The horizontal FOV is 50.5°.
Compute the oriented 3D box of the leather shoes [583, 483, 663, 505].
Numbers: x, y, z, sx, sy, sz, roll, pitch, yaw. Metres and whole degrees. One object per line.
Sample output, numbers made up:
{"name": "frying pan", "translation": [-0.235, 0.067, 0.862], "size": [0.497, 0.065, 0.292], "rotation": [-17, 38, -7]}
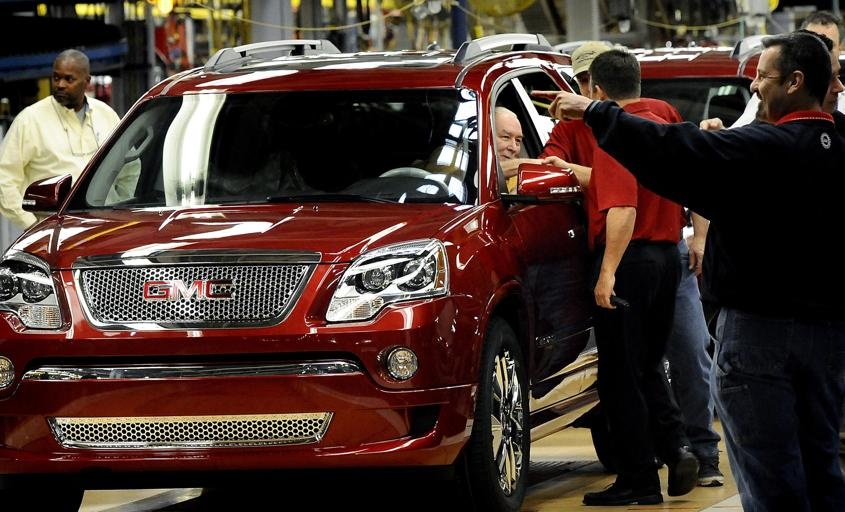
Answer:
{"name": "leather shoes", "translation": [1.321, 1.546, 5.956], "size": [0.520, 0.191, 0.179], "rotation": [2, -6, 4]}

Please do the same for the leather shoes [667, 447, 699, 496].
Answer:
{"name": "leather shoes", "translation": [1.721, 1.393, 5.881], "size": [0.171, 0.310, 0.147], "rotation": [1, 33, -10]}

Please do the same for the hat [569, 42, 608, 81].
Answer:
{"name": "hat", "translation": [1.214, -1.408, 6.510], "size": [0.248, 0.174, 0.364], "rotation": [-15, 5, 23]}
